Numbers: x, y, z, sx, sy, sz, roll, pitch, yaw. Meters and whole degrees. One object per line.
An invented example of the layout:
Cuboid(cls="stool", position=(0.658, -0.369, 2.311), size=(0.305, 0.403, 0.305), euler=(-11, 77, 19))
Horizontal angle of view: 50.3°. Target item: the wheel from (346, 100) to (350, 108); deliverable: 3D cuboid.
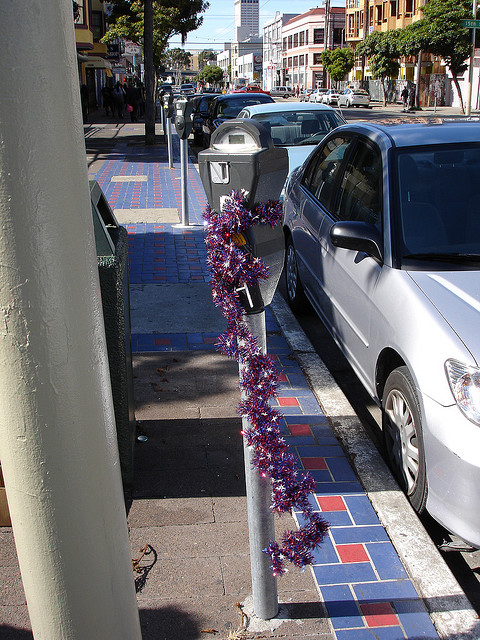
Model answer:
Cuboid(cls="wheel", position=(11.313, -22.693, 54.052), size=(0.126, 0.560, 0.562), euler=(-13, 60, -1))

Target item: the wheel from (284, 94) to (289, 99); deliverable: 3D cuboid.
Cuboid(cls="wheel", position=(6.856, -33.392, 76.325), size=(0.663, 0.529, 2.053), euler=(-1, 18, 3))

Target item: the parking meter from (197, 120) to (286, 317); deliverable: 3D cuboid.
Cuboid(cls="parking meter", position=(0.004, -0.302, 1.572), size=(0.268, 0.598, 0.292), euler=(0, 17, 5))

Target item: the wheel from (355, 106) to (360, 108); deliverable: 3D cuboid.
Cuboid(cls="wheel", position=(12.315, -22.450, 54.002), size=(0.250, 0.072, 0.232), euler=(-1, 7, 0))

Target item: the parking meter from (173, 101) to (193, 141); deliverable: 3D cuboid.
Cuboid(cls="parking meter", position=(-0.968, -3.343, 8.658), size=(0.326, 0.659, 0.193), euler=(20, 28, 36))
